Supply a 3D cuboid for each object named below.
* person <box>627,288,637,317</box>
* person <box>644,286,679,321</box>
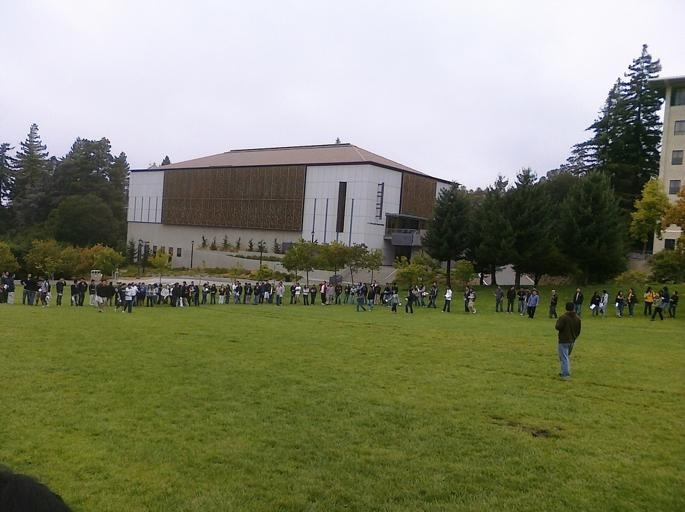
[{"bbox_3d":[16.683,2.691,31.699,0.421,1.567,1.716,3,5,28],"label":"person"},{"bbox_3d":[18.193,2.756,31.282,1.449,1.194,1.151,2,-4,-5],"label":"person"}]
